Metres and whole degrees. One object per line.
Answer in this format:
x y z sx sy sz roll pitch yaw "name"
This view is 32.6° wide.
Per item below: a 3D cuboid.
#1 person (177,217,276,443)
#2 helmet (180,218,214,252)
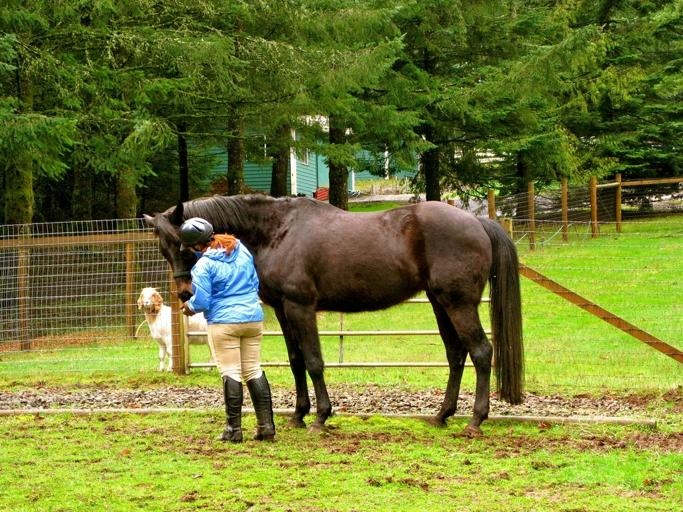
-1.603 1.091 16.934 1.216 3.251 0.376 -2 3 -9 "person"
-2.077 -0.301 16.895 0.470 0.371 0.356 -14 31 38 "helmet"
